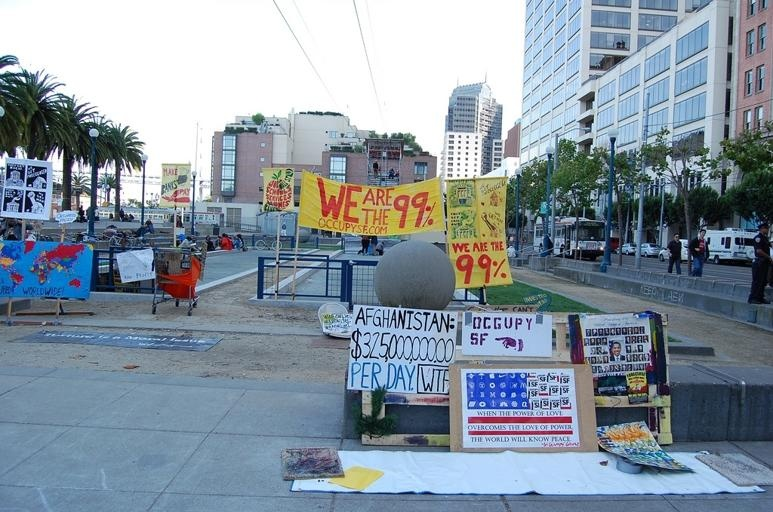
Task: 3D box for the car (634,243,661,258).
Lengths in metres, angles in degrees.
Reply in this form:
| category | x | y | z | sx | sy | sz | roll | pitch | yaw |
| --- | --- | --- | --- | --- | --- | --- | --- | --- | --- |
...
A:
| category | x | y | z | sx | sy | sz | roll | pitch | yaw |
| --- | --- | --- | --- | --- | --- | --- | --- | --- | --- |
| car | 21.796 | -0.479 | 50.452 | 1.006 | 0.805 | 2.199 | 1 | 9 | 7 |

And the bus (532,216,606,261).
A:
| category | x | y | z | sx | sy | sz | roll | pitch | yaw |
| --- | --- | --- | --- | --- | --- | --- | --- | --- | --- |
| bus | 14.473 | -1.385 | 49.689 | 3.219 | 3.657 | 11.030 | 0 | 0 | -13 |

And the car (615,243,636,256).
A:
| category | x | y | z | sx | sy | sz | roll | pitch | yaw |
| --- | --- | --- | --- | --- | --- | --- | --- | --- | --- |
| car | 21.558 | -0.620 | 54.521 | 0.899 | 0.705 | 1.939 | 2 | 11 | 8 |

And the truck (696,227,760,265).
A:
| category | x | y | z | sx | sy | sz | roll | pitch | yaw |
| --- | --- | --- | --- | --- | --- | --- | --- | --- | --- |
| truck | 21.657 | -0.607 | 38.246 | 2.284 | 1.975 | 4.173 | 1 | 8 | -2 |

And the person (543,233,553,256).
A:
| category | x | y | z | sx | sy | sz | roll | pitch | yaw |
| --- | --- | --- | --- | --- | --- | --- | --- | --- | --- |
| person | 11.585 | -0.841 | 43.372 | 0.561 | 0.543 | 1.728 | 13 | -4 | 18 |

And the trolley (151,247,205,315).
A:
| category | x | y | z | sx | sy | sz | roll | pitch | yaw |
| --- | --- | --- | --- | --- | --- | --- | --- | --- | --- |
| trolley | -5.394 | 0.548 | 15.476 | 1.242 | 1.686 | 1.415 | 2 | 0 | 2 |
